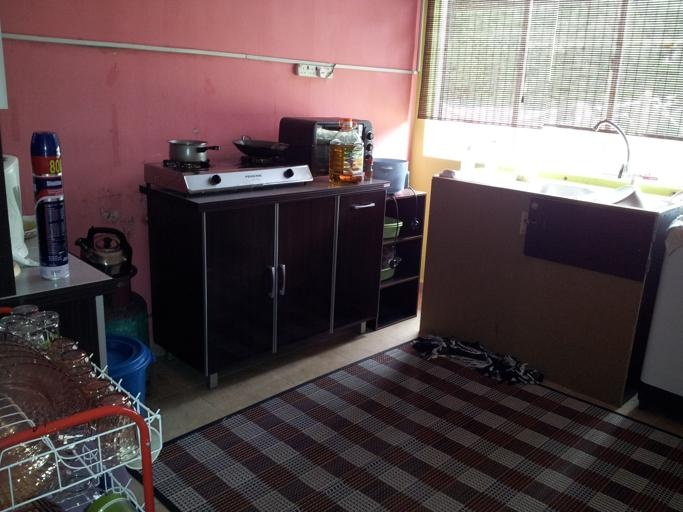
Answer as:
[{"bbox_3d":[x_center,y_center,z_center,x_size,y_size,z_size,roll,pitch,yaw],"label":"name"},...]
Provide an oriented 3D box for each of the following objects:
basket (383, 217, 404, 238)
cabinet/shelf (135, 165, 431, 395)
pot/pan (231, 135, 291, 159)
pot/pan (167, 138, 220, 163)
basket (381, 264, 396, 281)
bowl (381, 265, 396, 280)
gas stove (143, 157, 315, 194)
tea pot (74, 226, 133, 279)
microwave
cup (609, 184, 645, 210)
[{"bbox_3d":[0.328,-0.194,3.260,0.111,0.050,0.144,17,25,39],"label":"basket"},{"bbox_3d":[-0.361,0.143,2.696,1.187,0.746,0.452,-13,20,-40],"label":"cabinet/shelf"},{"bbox_3d":[-0.441,-0.599,2.741,0.209,0.060,0.163,5,23,0],"label":"pot/pan"},{"bbox_3d":[-0.753,-0.545,2.462,0.204,0.072,0.135,16,23,33],"label":"pot/pan"},{"bbox_3d":[0.305,0.099,3.281,0.093,0.033,0.094,5,15,25],"label":"basket"},{"bbox_3d":[0.304,0.101,3.292,0.098,0.035,0.099,-1,13,0],"label":"bowl"},{"bbox_3d":[-0.545,-0.409,2.532,0.837,0.127,0.348,-7,20,-21],"label":"gas stove"},{"bbox_3d":[-1.118,-0.022,2.490,0.310,0.261,0.234,-2,34,-41],"label":"tea pot"},{"bbox_3d":[-0.103,-0.659,3.077,0.591,0.425,0.379,-12,20,-40],"label":"microwave"},{"bbox_3d":[1.456,-0.297,2.591,0.175,0.064,0.144,5,30,42],"label":"cup"}]
